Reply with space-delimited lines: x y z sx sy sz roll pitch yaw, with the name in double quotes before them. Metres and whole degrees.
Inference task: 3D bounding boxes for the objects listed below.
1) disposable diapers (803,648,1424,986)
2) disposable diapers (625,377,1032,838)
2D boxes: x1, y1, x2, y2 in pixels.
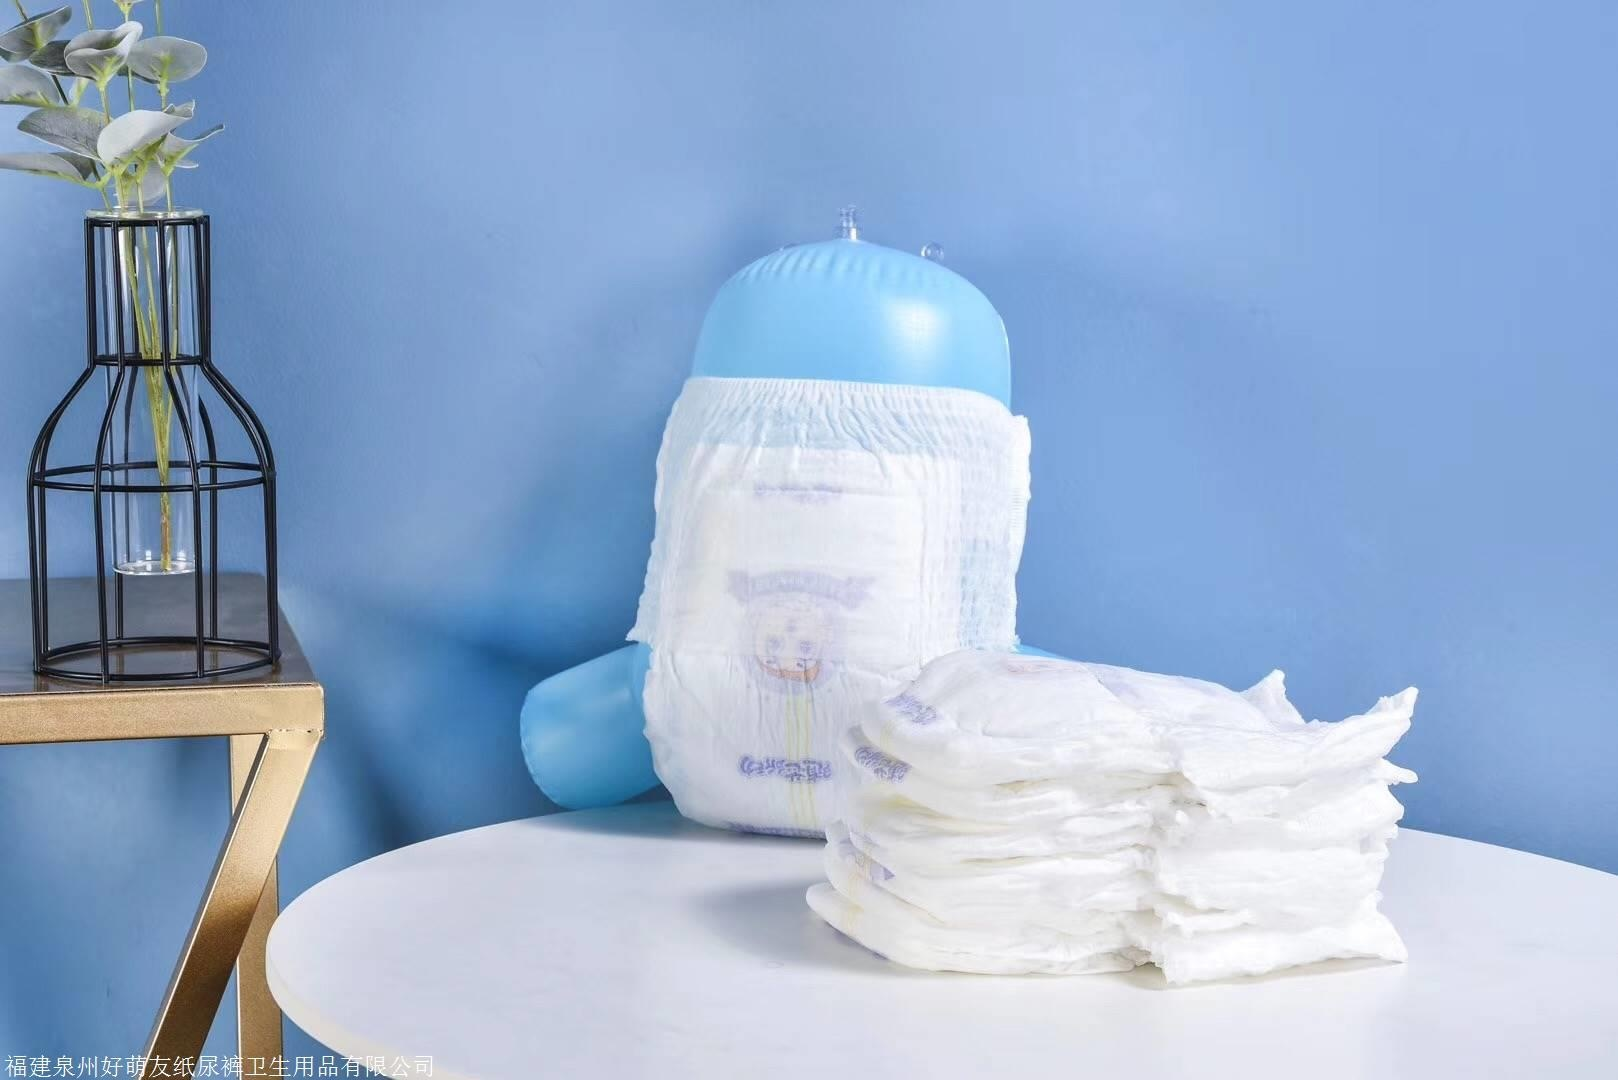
"disposable diapers" 0.239 0.236 1.658 0.332 0.152 0.312 1 -2 -5
"disposable diapers" 0.021 0.061 1.836 0.383 0.402 0.231 5 -8 15
